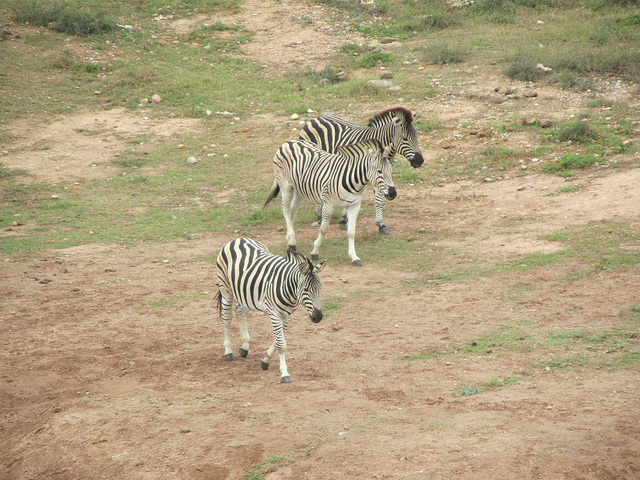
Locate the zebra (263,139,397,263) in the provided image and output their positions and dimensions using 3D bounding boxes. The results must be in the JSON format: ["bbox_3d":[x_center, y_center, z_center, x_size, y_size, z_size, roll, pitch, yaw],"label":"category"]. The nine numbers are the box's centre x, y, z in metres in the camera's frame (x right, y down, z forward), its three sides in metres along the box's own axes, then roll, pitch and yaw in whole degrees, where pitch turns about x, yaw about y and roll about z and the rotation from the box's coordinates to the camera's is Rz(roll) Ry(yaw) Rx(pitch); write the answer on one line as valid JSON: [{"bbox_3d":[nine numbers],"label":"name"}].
[{"bbox_3d":[0.244,-1.002,22.834,2.938,2.773,1.379,19,26,38],"label":"zebra"}]
